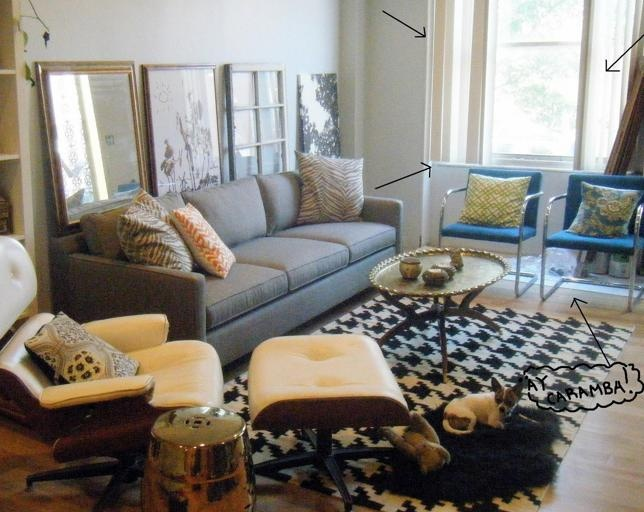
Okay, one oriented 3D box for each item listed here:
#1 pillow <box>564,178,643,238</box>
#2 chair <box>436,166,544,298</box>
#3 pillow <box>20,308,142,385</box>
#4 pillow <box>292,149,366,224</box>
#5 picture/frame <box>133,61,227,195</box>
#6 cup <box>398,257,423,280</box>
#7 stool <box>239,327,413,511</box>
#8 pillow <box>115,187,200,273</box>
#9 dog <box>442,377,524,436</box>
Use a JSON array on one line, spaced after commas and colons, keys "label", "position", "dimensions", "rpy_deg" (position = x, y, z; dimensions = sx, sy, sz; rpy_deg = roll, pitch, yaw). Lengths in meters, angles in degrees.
[{"label": "pillow", "position": [2.165, -0.348, 3.956], "dimensions": [0.432, 0.337, 0.391], "rpy_deg": [10, 23, 29]}, {"label": "chair", "position": [1.451, -0.231, 4.393], "dimensions": [0.729, 0.926, 0.668], "rpy_deg": [12, 22, 42]}, {"label": "pillow", "position": [-0.902, 0.357, 1.960], "dimensions": [0.301, 0.108, 0.290], "rpy_deg": [42, 22, 23]}, {"label": "pillow", "position": [0.078, -0.565, 4.381], "dimensions": [0.699, 0.600, 0.293], "rpy_deg": [-4, 6, -34]}, {"label": "picture/frame", "position": [-1.032, -0.897, 3.597], "dimensions": [0.049, 1.112, 0.903], "rpy_deg": [10, 23, 36]}, {"label": "cup", "position": [0.514, 0.072, 3.006], "dimensions": [0.135, 0.115, 0.130], "rpy_deg": [-1, 10, 0]}, {"label": "stool", "position": [0.012, 0.558, 2.041], "dimensions": [0.563, 0.371, 0.749], "rpy_deg": [-2, 17, -4]}, {"label": "pillow", "position": [-0.902, -0.077, 2.820], "dimensions": [0.405, 0.368, 0.103], "rpy_deg": [11, 43, -12]}, {"label": "dog", "position": [0.733, 0.667, 2.395], "dimensions": [0.341, 0.251, 0.281], "rpy_deg": [1, 6, 31]}]
